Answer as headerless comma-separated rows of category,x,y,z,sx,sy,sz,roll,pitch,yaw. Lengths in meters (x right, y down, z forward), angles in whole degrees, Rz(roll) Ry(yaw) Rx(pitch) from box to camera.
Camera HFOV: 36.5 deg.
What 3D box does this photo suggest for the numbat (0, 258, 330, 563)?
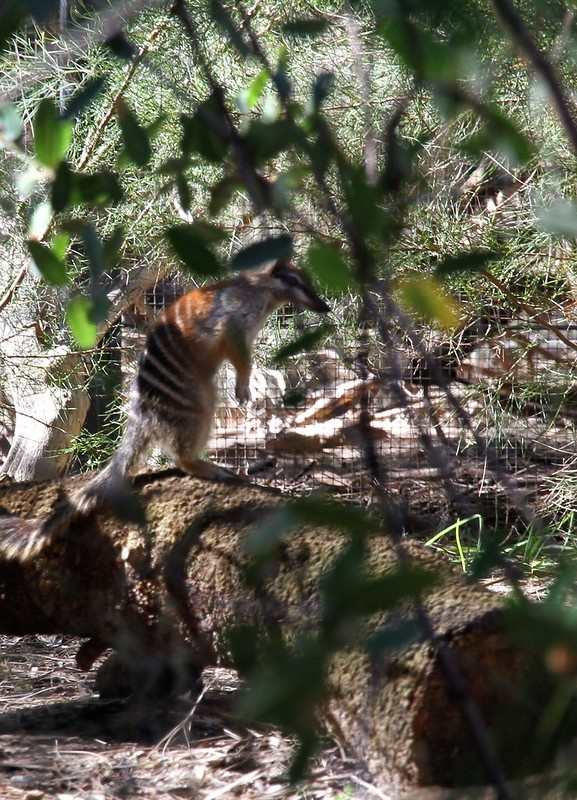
numbat,-0.330,0.032,2.118,0.764,0.700,0.304,0,3,-4
